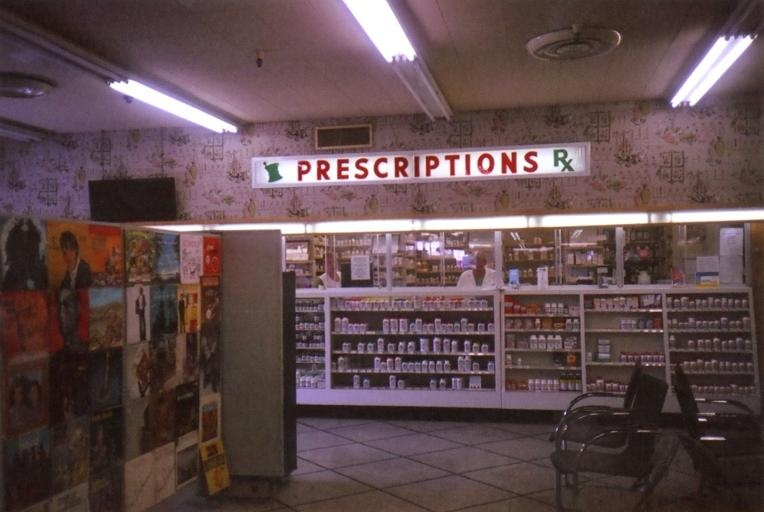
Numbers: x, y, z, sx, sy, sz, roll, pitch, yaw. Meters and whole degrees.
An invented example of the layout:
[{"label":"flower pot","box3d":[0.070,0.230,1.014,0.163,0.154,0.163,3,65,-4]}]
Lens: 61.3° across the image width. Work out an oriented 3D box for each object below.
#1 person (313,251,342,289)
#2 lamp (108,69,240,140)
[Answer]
[{"label":"person","box3d":[-0.881,0.230,10.601,0.542,0.710,0.369,-1,-14,0]},{"label":"lamp","box3d":[-2.877,-2.094,8.998,0.502,0.534,1.865,2,8,23]}]
